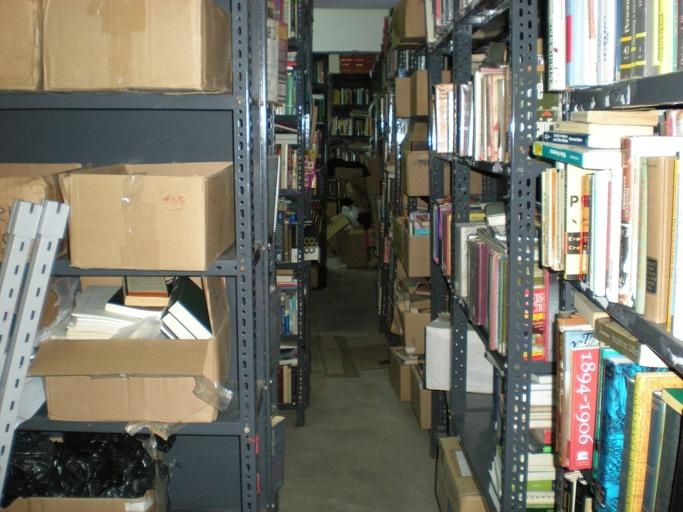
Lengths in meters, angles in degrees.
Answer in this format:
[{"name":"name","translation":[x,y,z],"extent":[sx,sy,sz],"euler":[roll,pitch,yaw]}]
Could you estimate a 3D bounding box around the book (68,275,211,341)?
[{"name":"book","translation":[-0.602,0.154,2.208],"extent":[0.465,0.144,0.279],"euler":[0,11,0]}]
